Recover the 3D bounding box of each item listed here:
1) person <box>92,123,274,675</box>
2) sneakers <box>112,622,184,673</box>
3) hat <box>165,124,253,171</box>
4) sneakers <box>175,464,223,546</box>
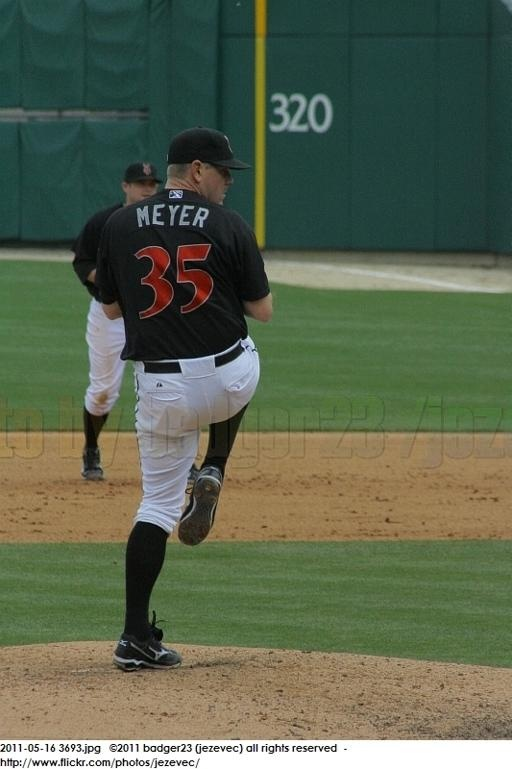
[{"bbox_3d":[-0.256,0.038,6.062,0.614,1.900,0.447,0,9,-9],"label":"person"},{"bbox_3d":[-0.392,0.953,6.070,0.273,0.198,0.113,0,2,-13],"label":"sneakers"},{"bbox_3d":[-0.183,-0.877,6.138,0.235,0.134,0.157,0,13,-5],"label":"hat"},{"bbox_3d":[-0.188,0.440,6.285,0.120,0.328,0.155,14,1,5],"label":"sneakers"}]
